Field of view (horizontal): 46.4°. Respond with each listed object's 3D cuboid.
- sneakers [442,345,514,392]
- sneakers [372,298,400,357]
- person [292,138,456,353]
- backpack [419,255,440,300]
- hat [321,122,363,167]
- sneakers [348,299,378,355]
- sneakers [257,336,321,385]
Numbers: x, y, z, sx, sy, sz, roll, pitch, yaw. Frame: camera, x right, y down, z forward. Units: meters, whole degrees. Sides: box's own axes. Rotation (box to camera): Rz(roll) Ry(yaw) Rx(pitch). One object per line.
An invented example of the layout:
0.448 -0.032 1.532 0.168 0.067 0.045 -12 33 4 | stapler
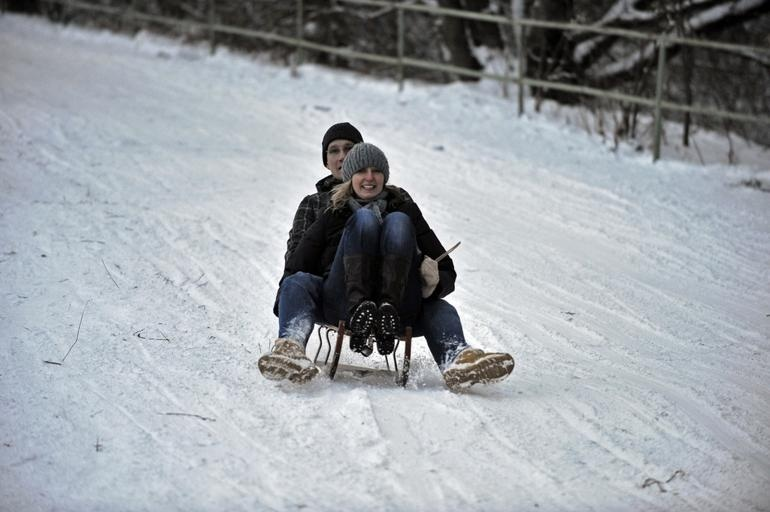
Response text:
0.706 0.856 6.970 0.590 0.254 0.295 -12 15 9 | sneakers
0.013 0.552 6.865 0.155 0.426 0.167 0 48 1 | sneakers
-0.204 -0.006 7.391 1.258 1.153 1.929 -24 51 27 | person
0.355 0.163 7.108 0.097 0.274 0.210 6 15 10 | backpack
-0.383 -1.032 8.231 0.300 0.318 0.413 -8 2 4 | hat
-0.165 0.554 6.883 0.177 0.445 0.174 10 36 8 | sneakers
-0.726 0.788 6.799 0.441 0.276 0.194 7 26 25 | sneakers
